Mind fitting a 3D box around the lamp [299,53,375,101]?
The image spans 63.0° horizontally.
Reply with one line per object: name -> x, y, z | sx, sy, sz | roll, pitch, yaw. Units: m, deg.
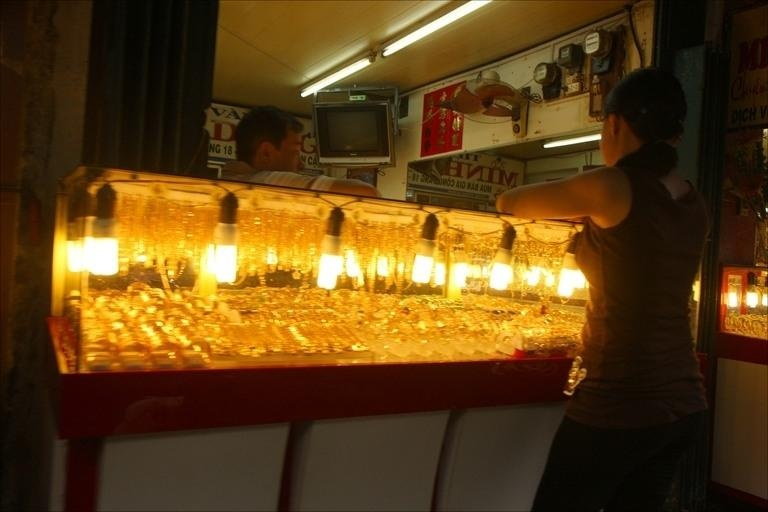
lamp -> -0.461, -1.725, 6.067 | 0.250, 0.138, 1.177 | 16, -18, -33

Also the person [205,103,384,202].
person -> -0.518, -0.533, 3.317 | 0.802, 0.279, 0.570 | 7, 12, 28

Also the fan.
fan -> 0.896, -1.275, 5.142 | 0.717, 0.446, 0.595 | 1, -9, -15

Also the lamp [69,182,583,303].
lamp -> -0.128, -0.011, 2.935 | 2.469, 0.427, 0.376 | 2, -4, -31
